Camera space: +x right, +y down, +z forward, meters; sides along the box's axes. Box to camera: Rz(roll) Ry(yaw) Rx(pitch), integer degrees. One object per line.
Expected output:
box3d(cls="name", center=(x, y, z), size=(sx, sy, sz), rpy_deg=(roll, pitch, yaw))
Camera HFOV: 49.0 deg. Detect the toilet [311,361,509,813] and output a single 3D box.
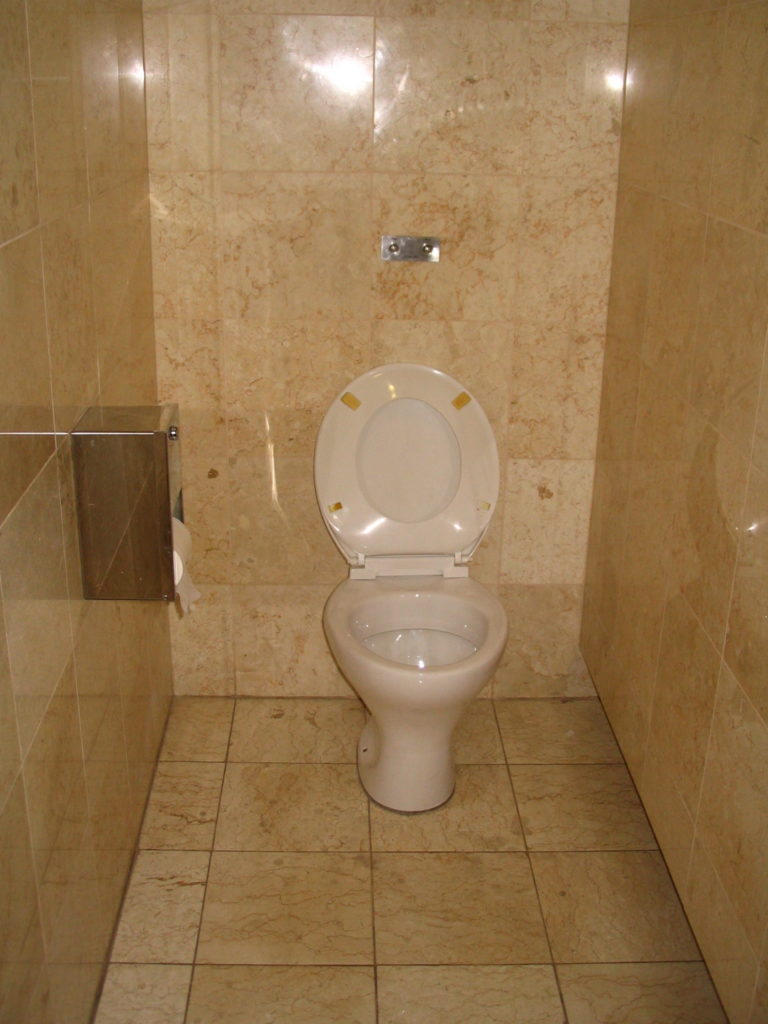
box3d(cls="toilet", center=(0.067, 0.210, 2.021), size=(0.307, 1.014, 0.495), rpy_deg=(0, 19, -2))
